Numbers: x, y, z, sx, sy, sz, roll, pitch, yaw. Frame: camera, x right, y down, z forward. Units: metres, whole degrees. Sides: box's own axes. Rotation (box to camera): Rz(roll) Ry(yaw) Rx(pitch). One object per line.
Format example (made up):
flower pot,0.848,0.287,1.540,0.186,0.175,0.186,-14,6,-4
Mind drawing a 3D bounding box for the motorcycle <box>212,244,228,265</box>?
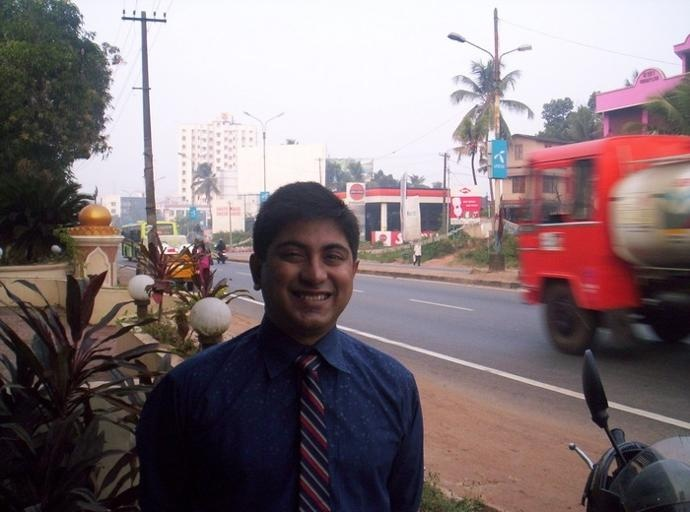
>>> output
motorcycle,-8.339,-0.225,34.697,0.857,1.317,1.918,-2,8,-11
